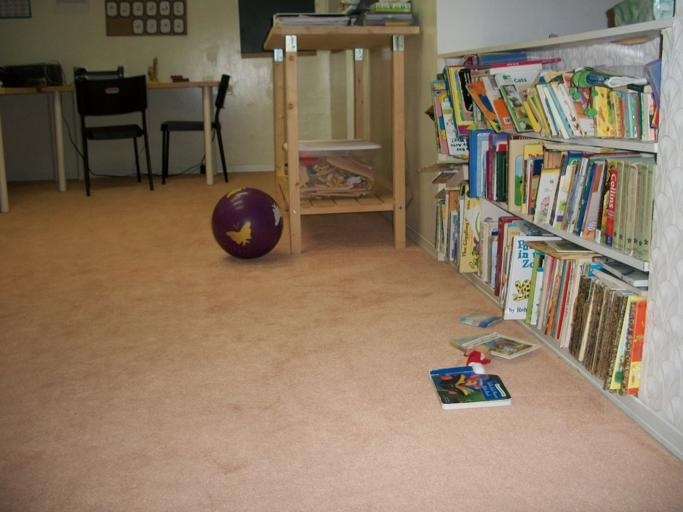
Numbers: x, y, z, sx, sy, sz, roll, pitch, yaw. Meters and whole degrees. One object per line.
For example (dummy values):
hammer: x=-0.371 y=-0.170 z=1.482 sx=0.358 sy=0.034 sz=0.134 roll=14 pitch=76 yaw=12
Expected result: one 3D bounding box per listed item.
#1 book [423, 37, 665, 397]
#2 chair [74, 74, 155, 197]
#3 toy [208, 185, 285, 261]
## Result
book: x=0.741 y=-0.134 z=1.889 sx=0.376 sy=0.803 sz=1.285 roll=0 pitch=23 yaw=-4
chair: x=-2.267 y=-1.234 z=5.240 sx=0.733 sy=1.074 sz=1.085 roll=-10 pitch=19 yaw=-24
toy: x=-0.510 y=-0.174 z=2.966 sx=0.352 sy=0.377 sz=0.390 roll=-2 pitch=47 yaw=2
